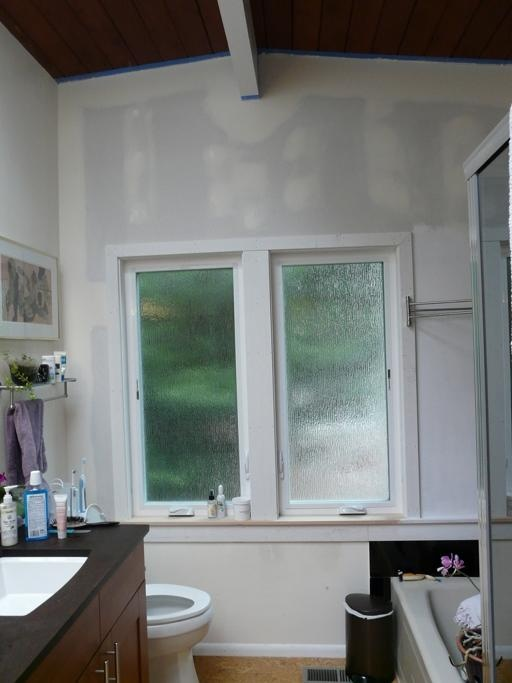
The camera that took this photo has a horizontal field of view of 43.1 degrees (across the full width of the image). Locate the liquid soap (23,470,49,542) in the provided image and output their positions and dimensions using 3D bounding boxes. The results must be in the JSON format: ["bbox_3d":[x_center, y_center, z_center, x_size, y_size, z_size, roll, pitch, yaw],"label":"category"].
[{"bbox_3d":[-0.737,0.531,2.157,0.082,0.216,0.160,-5,5,-21],"label":"liquid soap"}]

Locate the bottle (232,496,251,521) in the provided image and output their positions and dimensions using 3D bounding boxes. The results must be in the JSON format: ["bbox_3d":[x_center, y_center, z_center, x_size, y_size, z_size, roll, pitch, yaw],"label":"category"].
[{"bbox_3d":[-0.062,0.753,2.945,0.077,0.083,0.085,-1,0,11],"label":"bottle"}]

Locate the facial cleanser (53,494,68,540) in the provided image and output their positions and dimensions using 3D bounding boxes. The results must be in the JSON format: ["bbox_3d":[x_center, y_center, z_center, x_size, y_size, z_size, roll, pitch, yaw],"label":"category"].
[{"bbox_3d":[-0.650,0.570,2.155,0.038,0.144,0.107,-5,5,-19],"label":"facial cleanser"}]

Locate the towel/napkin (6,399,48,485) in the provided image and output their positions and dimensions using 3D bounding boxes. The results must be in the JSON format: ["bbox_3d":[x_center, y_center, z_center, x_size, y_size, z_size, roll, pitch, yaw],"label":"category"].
[{"bbox_3d":[-0.888,0.373,2.491,0.115,0.313,0.270,-4,5,-7],"label":"towel/napkin"}]
